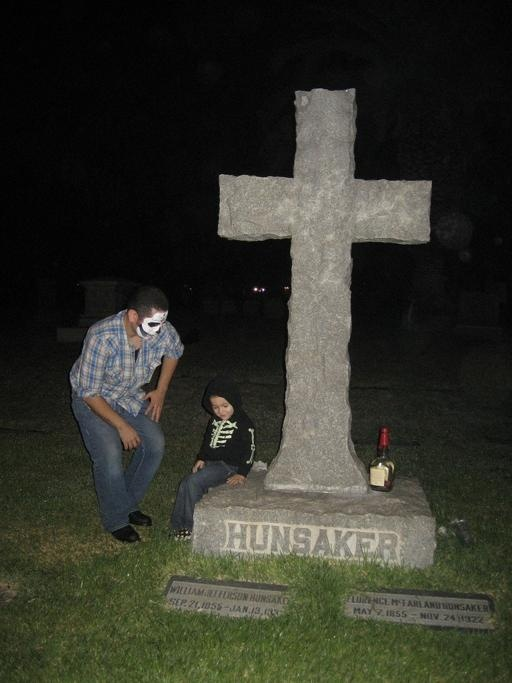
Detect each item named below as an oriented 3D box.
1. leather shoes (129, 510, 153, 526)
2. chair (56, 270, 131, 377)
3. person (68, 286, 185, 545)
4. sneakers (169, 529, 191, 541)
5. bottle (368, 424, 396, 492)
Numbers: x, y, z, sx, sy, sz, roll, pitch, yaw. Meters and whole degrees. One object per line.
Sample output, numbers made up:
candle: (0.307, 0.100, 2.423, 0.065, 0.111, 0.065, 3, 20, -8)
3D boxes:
leather shoes: (-0.803, 1.232, 4.021, 0.203, 0.084, 0.072, -4, -5, 37)
chair: (-4.582, -0.537, 14.934, 2.377, 1.826, 2.415, 2, 5, 1)
person: (-0.876, 0.472, 3.856, 0.733, 1.664, 0.691, 0, 6, -8)
sneakers: (-0.479, 1.238, 3.692, 0.156, 0.054, 0.071, -3, -13, 10)
bottle: (0.816, 0.745, 3.741, 0.162, 0.427, 0.319, 2, 6, 13)
